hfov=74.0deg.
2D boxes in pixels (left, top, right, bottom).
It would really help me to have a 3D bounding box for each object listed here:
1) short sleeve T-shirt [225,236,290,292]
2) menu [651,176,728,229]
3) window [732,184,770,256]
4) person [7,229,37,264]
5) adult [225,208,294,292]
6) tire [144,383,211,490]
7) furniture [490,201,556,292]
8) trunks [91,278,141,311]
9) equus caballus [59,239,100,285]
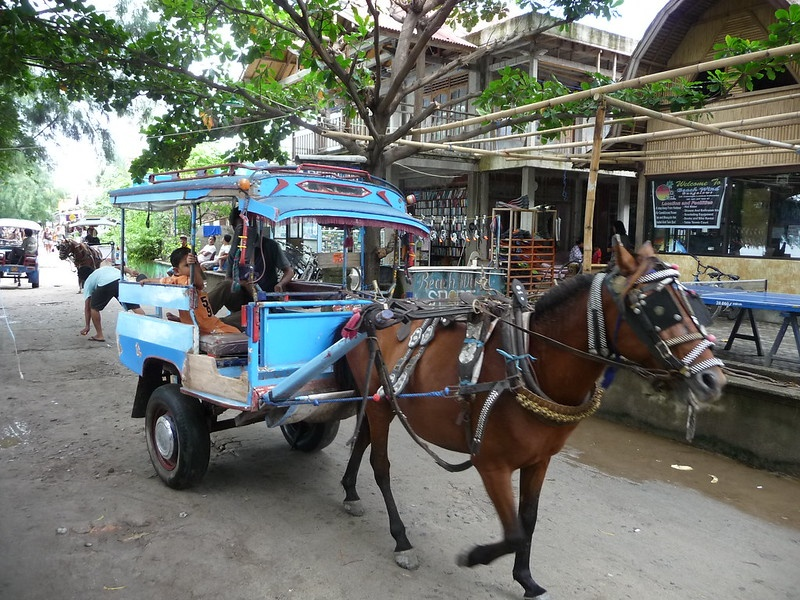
[{"bbox_3d":[-1.645,-0.391,6.133,0.756,0.697,0.396,1,3,7],"label":"short sleeve T-shirt"},{"bbox_3d":[7.301,-2.398,13.094,0.067,1.048,1.437,-8,8,-36],"label":"menu"},{"bbox_3d":[8.264,-1.796,12.229,0.641,1.667,0.110,5,-4,9],"label":"window"},{"bbox_3d":[-14.811,-1.898,20.764,0.892,1.085,0.534,-6,11,-43],"label":"person"},{"bbox_3d":[-1.741,-0.665,6.814,0.757,1.014,1.135,9,4,-11],"label":"adult"},{"bbox_3d":[-2.139,1.331,5.129,0.313,1.024,0.921,-3,12,-45],"label":"tire"},{"bbox_3d":[3.339,-1.200,13.471,1.189,2.080,0.693,-1,17,-2],"label":"furniture"},{"bbox_3d":[-4.933,-0.100,9.078,0.824,0.715,0.310,3,-4,-2],"label":"trunks"},{"bbox_3d":[-8.464,-1.216,13.761,0.411,0.961,1.398,5,12,-11],"label":"equus caballus"}]
